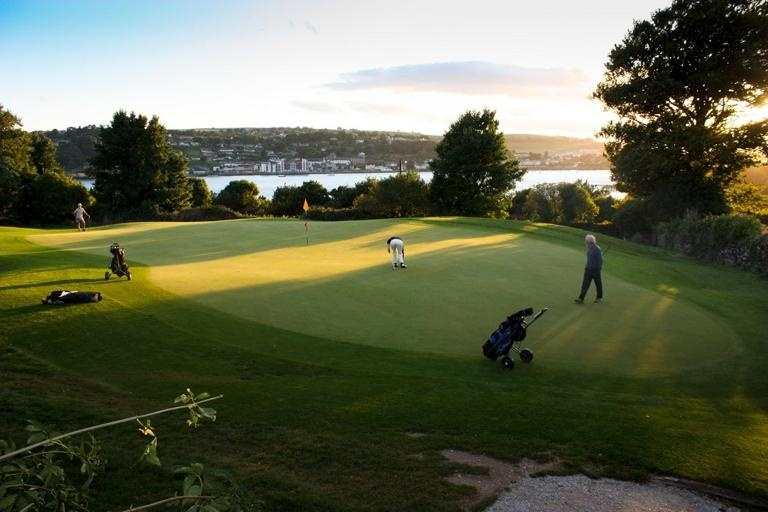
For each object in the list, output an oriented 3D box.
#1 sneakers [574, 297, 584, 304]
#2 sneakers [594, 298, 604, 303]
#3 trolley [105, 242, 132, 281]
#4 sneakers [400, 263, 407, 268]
[{"bbox_3d":[6.320,1.430,17.852,0.277,0.179,0.312,2,9,18],"label":"sneakers"},{"bbox_3d":[7.020,1.436,18.012,0.350,0.125,0.187,-3,9,-15],"label":"sneakers"},{"bbox_3d":[-9.393,0.186,19.441,0.852,1.228,0.909,-7,11,-32],"label":"trolley"},{"bbox_3d":[0.774,0.360,21.430,0.222,0.193,0.127,-4,17,3],"label":"sneakers"}]
